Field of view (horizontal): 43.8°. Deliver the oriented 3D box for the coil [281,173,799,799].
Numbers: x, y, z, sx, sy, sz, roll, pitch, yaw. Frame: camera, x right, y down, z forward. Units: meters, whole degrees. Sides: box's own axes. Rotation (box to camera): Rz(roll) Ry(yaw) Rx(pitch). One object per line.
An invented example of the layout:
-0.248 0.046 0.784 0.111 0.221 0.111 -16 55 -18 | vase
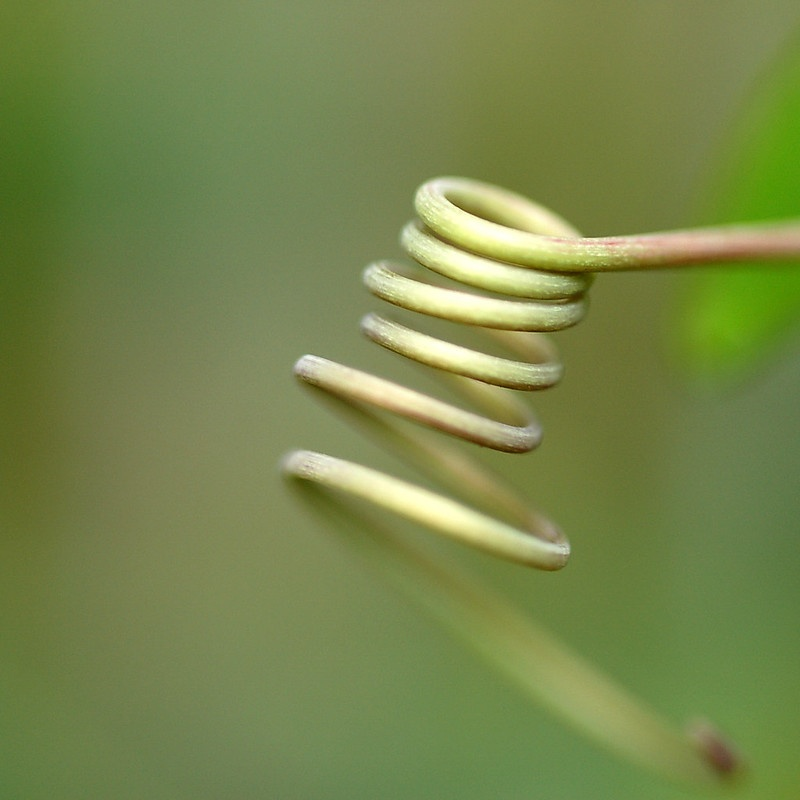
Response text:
0.169 0.041 1.056 0.584 0.421 0.424 37 3 -30 | coil
